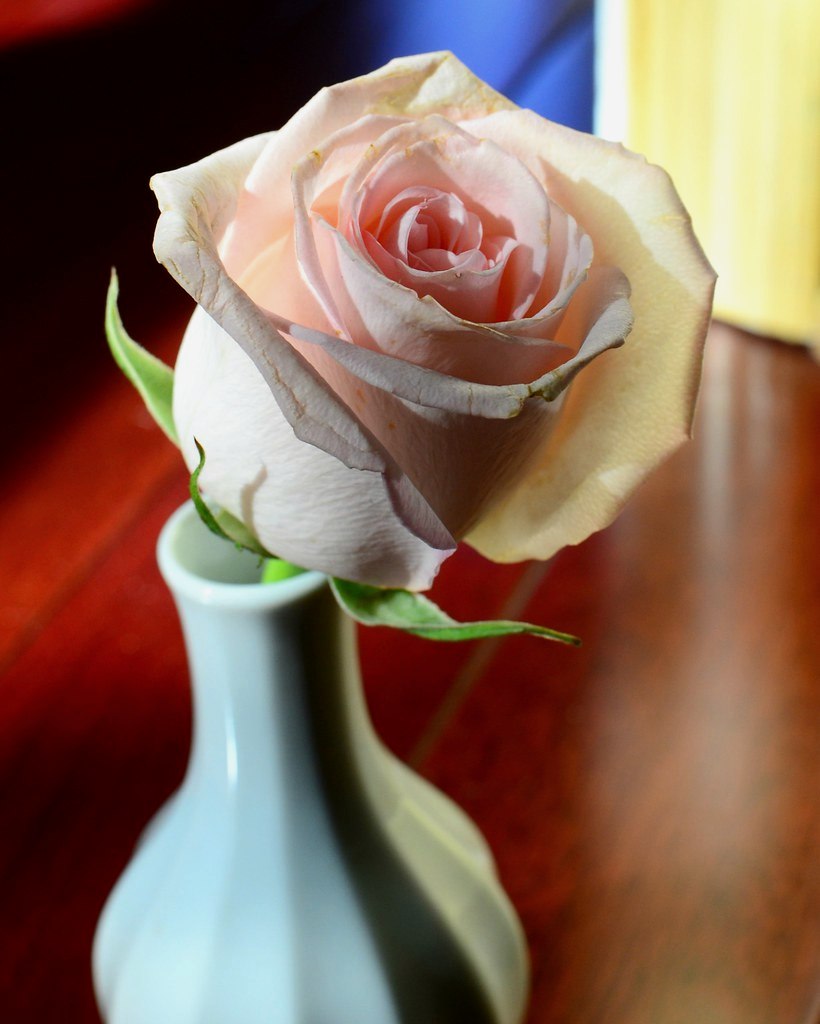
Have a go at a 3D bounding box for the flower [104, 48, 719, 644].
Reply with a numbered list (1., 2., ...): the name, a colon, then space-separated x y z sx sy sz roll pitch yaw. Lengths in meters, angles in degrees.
1. flower: 0.004 -0.041 0.270 0.154 0.135 0.134 -17 39 -16
